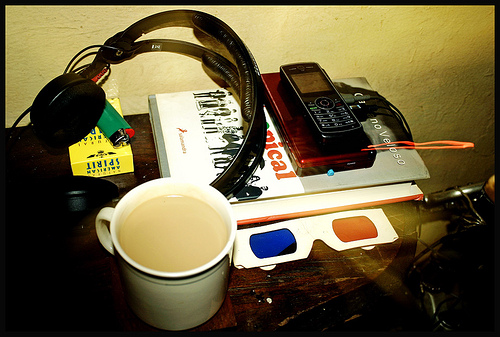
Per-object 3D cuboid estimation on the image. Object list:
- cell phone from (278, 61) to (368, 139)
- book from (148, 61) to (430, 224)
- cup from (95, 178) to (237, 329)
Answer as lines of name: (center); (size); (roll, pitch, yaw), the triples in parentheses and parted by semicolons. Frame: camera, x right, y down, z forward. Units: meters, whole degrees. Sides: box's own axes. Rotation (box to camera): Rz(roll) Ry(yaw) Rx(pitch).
cell phone: (0.126, -0.125, 0.654); (0.095, 0.047, 0.195); (-12, 55, -21)
book: (0.062, -0.031, 0.605); (0.423, 0.080, 0.292); (-6, 51, -13)
cup: (-0.108, 0.117, 0.461); (0.175, 0.115, 0.134); (20, 45, 18)
